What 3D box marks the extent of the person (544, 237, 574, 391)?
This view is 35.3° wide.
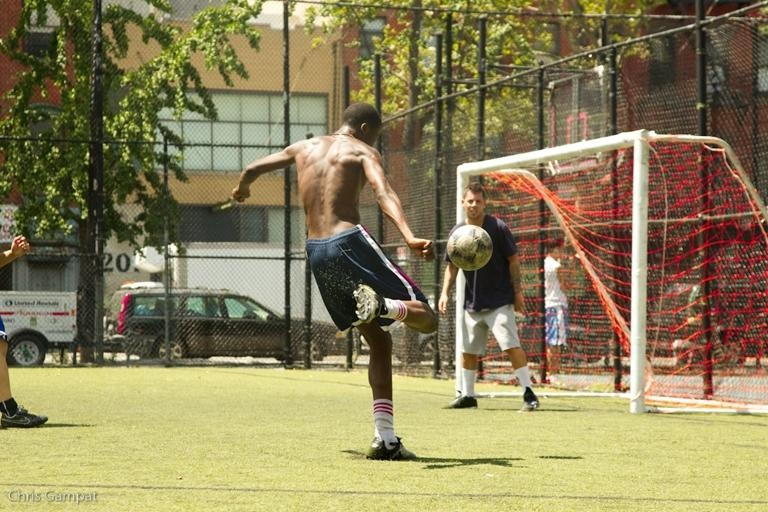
[{"bbox_3d":[2.672,0.913,18.836,0.369,2.214,0.414,0,-7,9],"label":"person"}]

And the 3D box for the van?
[{"bbox_3d":[-3.240,1.298,23.578,4.111,1.322,1.755,0,-3,-15],"label":"van"}]

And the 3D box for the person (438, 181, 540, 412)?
[{"bbox_3d":[1.422,0.544,15.867,1.092,2.938,0.945,-2,-8,20],"label":"person"}]

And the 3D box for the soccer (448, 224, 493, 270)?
[{"bbox_3d":[1.041,-0.090,14.861,0.589,0.589,0.560,2,21,-6],"label":"soccer"}]

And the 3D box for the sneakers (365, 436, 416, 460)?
[{"bbox_3d":[0.043,2.092,13.048,0.572,0.255,0.207,3,-6,-19],"label":"sneakers"}]

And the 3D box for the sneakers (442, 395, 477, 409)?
[{"bbox_3d":[0.992,1.956,16.171,0.458,0.207,0.156,2,-7,-5],"label":"sneakers"}]

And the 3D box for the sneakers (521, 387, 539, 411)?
[{"bbox_3d":[1.879,1.872,15.672,0.137,0.172,0.393,-3,-21,2],"label":"sneakers"}]

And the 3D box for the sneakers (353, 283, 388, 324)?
[{"bbox_3d":[-0.179,0.528,12.821,0.199,0.264,0.434,5,23,-43],"label":"sneakers"}]
